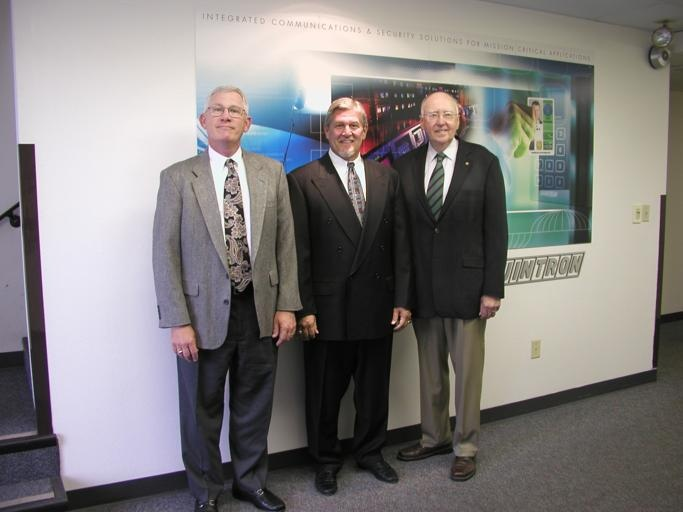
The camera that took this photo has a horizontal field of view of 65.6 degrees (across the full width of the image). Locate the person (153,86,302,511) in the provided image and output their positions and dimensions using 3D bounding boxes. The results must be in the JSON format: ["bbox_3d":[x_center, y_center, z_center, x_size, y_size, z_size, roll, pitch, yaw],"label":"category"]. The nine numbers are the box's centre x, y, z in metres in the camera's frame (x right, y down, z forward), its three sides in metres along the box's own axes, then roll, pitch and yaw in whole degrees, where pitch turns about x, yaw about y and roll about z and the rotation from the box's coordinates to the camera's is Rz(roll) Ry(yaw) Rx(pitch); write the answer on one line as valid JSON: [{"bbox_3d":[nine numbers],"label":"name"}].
[{"bbox_3d":[-0.612,0.281,2.937,0.780,2.370,0.413,-5,11,-21],"label":"person"}]

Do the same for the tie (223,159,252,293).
[{"bbox_3d":[-0.576,-0.171,2.893,0.132,0.696,0.184,-3,11,-14],"label":"tie"}]

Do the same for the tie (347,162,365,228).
[{"bbox_3d":[0.092,-0.376,3.125,0.131,0.352,0.086,7,13,34],"label":"tie"}]

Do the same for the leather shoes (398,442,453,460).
[{"bbox_3d":[0.551,1.253,3.515,0.333,0.146,0.132,0,0,-13],"label":"leather shoes"}]

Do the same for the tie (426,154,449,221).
[{"bbox_3d":[0.588,-0.438,3.312,0.116,0.396,0.162,1,11,10],"label":"tie"}]
